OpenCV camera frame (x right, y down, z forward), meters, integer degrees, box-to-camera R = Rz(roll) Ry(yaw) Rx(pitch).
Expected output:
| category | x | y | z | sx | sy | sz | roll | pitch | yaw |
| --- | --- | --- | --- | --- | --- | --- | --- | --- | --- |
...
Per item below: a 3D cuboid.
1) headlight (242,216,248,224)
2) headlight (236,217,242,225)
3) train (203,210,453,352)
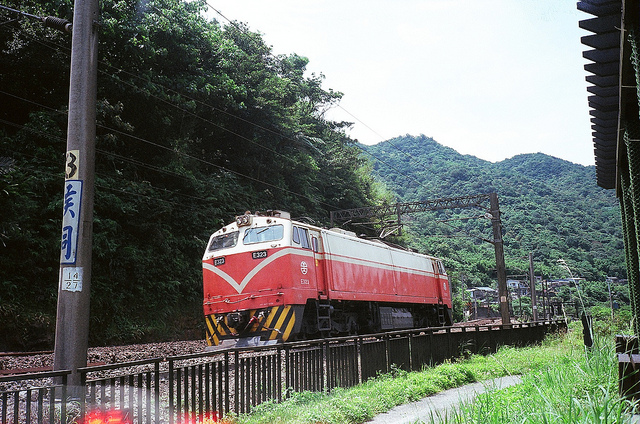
| category | x | y | z | sx | sy | sz | roll | pitch | yaw |
| --- | --- | --- | --- | --- | --- | --- | --- | --- | --- |
| headlight | -2.518 | 0.247 | 15.562 | 0.195 | 0.184 | 0.045 | 2 | -6 | 12 |
| headlight | -2.753 | 0.271 | 15.575 | 0.189 | 0.188 | 0.046 | -1 | -2 | 28 |
| train | 1.655 | 3.453 | 21.145 | 3.796 | 4.768 | 15.809 | -15 | -18 | 32 |
